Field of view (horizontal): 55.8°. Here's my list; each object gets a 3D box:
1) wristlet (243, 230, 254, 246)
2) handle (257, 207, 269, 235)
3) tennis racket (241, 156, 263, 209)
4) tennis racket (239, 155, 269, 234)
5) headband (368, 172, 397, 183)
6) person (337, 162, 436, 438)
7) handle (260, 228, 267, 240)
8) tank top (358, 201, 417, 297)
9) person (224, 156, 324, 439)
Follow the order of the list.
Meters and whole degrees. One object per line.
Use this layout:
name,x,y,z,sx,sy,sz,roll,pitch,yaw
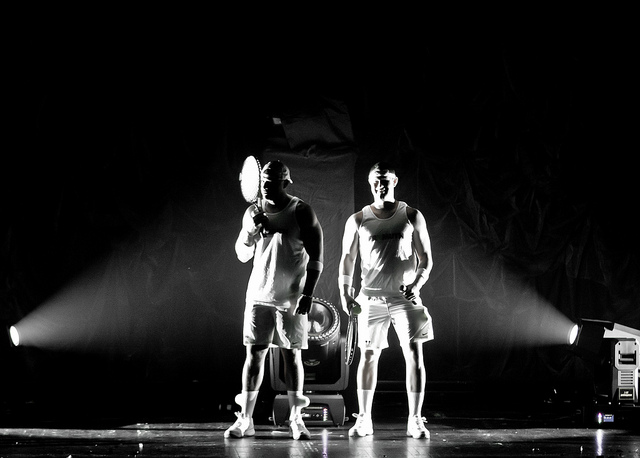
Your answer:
wristlet,-0.540,0.077,4.614,0.086,0.091,0.089,2,-7,-3
handle,-0.436,-0.053,4.599,0.063,0.169,0.140,-22,13,1
tennis racket,-0.532,-0.363,4.737,0.075,0.297,0.336,-2,-43,-18
tennis racket,-0.514,-0.279,4.721,0.093,0.553,0.304,-9,-9,-38
headband,0.493,-0.411,4.798,0.206,0.065,0.125,0,-6,8
person,0.511,0.526,4.694,0.711,2.097,0.269,1,-6,1
handle,-0.429,0.052,4.592,0.063,0.066,0.058,1,1,25
tank top,0.537,0.170,4.722,0.580,1.070,0.509,0,-18,2
person,-0.336,0.485,4.580,0.700,2.118,0.332,1,-6,-1
